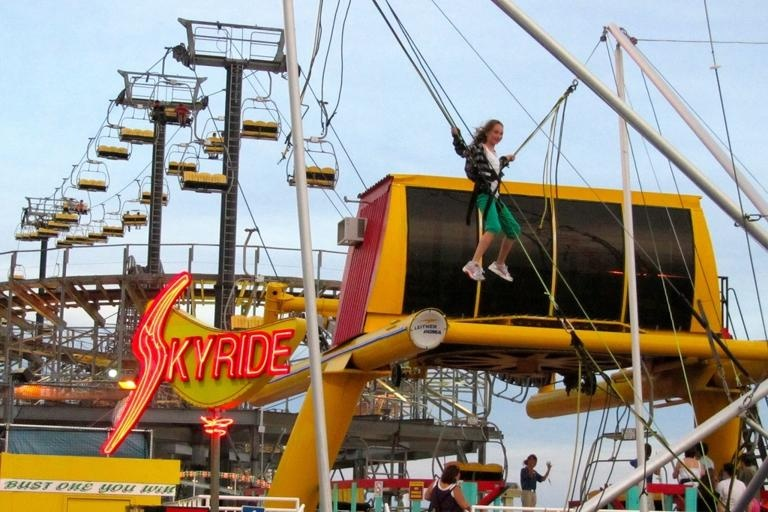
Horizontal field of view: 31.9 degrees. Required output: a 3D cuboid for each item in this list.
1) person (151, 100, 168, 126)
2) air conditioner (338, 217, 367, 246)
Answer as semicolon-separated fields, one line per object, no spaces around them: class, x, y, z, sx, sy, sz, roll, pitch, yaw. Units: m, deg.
person;-11.207;-7.215;66.949;0.722;1.039;1.321;3;-15;-21
air conditioner;-0.782;-0.669;36.038;0.652;0.870;1.202;2;-6;-17
